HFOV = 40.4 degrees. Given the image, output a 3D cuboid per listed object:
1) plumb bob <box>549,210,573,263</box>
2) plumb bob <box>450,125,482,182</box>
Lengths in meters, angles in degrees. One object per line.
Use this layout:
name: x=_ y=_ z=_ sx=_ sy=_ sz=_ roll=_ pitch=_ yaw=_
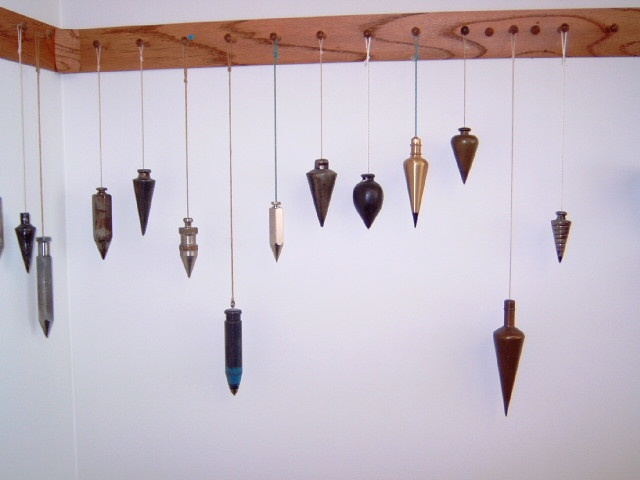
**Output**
plumb bob: x=0.731 y=-0.023 z=2.616 sx=0.063 sy=0.151 sz=0.123 roll=-10 pitch=-19 yaw=16
plumb bob: x=0.429 y=-0.256 z=2.584 sx=0.109 sy=0.162 sz=0.112 roll=-3 pitch=8 yaw=-13
